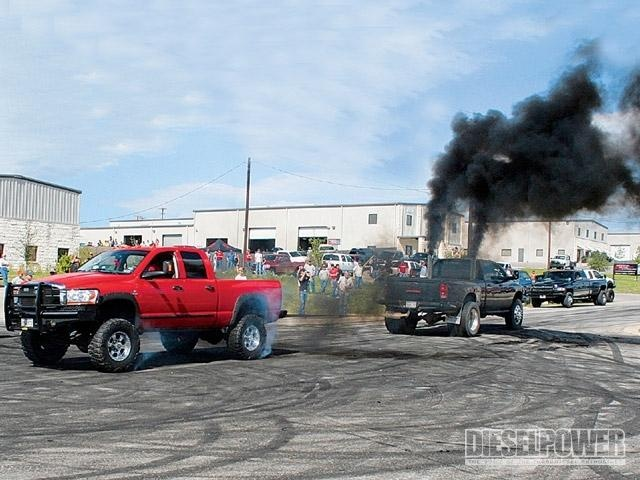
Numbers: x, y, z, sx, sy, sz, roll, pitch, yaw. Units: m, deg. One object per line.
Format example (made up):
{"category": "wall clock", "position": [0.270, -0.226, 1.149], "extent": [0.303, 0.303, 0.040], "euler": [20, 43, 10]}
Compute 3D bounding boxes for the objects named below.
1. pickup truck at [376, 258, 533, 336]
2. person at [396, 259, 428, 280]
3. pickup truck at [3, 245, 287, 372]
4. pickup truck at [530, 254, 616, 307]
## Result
{"category": "pickup truck", "position": [4.235, 1.666, 20.679], "extent": [2.132, 1.559, 3.998], "euler": [0, 2, 41]}
{"category": "person", "position": [3.671, 1.366, 27.558], "extent": [1.108, 0.736, 2.173], "euler": [1, 4, 21]}
{"category": "pickup truck", "position": [-3.526, 1.256, 14.349], "extent": [4.742, 1.884, 2.667], "euler": [6, -8, -44]}
{"category": "pickup truck", "position": [13.141, 2.465, 35.436], "extent": [5.011, 1.958, 1.644], "euler": [4, -4, -37]}
